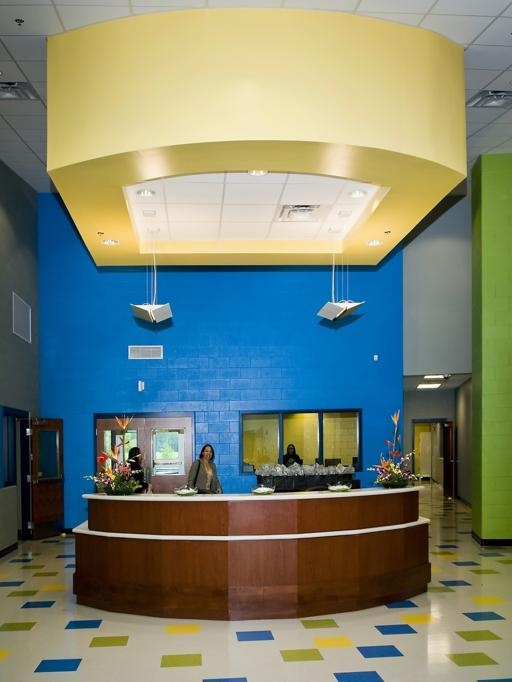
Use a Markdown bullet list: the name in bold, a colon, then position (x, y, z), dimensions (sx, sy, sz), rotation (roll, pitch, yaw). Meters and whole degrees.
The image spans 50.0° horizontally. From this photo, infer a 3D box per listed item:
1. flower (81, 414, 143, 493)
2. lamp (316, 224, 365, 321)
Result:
- **flower**: position (-1.348, 1.136, 5.318), dimensions (0.412, 0.746, 0.422), rotation (7, 2, 32)
- **lamp**: position (1.349, -0.937, 8.246), dimensions (0.902, 1.388, 1.119), rotation (-1, 0, -6)
